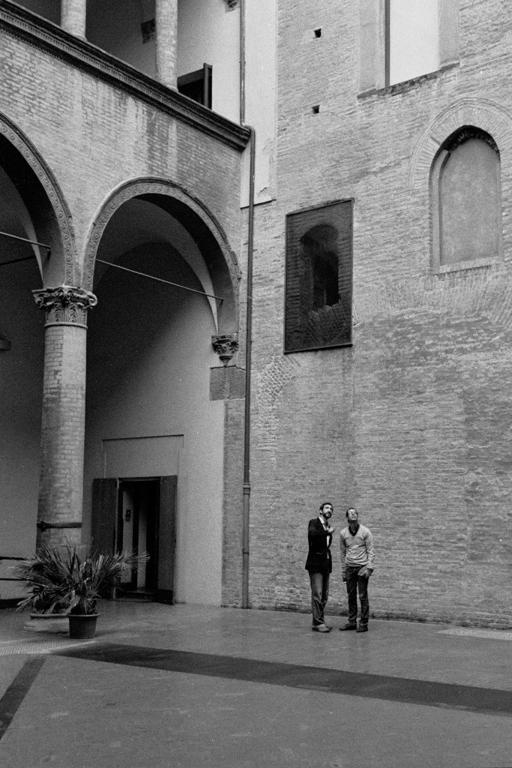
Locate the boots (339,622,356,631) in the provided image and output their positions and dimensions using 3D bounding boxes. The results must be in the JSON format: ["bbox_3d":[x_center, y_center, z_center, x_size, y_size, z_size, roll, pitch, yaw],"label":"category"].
[{"bbox_3d":[1.111,2.917,10.621,0.238,0.101,0.083,5,-7,-15],"label":"boots"}]

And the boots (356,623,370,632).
[{"bbox_3d":[1.274,2.906,10.526,0.068,0.146,0.203,-11,-17,44],"label":"boots"}]

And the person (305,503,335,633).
[{"bbox_3d":[0.761,2.195,10.632,0.298,1.494,0.533,0,-5,4],"label":"person"}]

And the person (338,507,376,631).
[{"bbox_3d":[1.220,2.255,10.782,0.404,1.474,0.910,-1,-5,6],"label":"person"}]

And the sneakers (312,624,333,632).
[{"bbox_3d":[0.791,2.909,10.507,0.253,0.116,0.089,-1,-1,8],"label":"sneakers"}]
